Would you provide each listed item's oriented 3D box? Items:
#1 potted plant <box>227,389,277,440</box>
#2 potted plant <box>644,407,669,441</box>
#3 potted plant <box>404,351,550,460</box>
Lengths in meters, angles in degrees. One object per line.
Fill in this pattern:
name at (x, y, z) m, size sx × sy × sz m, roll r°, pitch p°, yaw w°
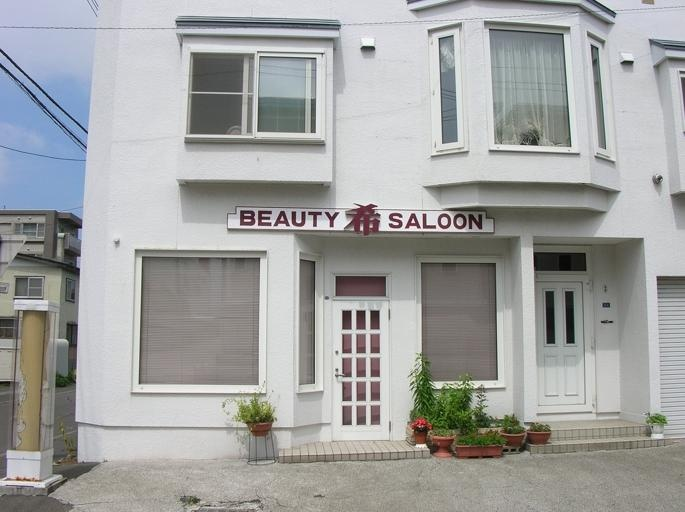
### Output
potted plant at (-1.620, 2.850, 11.895) m, size 0.726 × 0.646 × 1.000 m, roll 3°, pitch 0°, yaw -19°
potted plant at (6.036, 3.266, 12.657) m, size 0.438 × 0.516 × 0.466 m, roll -1°, pitch -12°, yaw 5°
potted plant at (2.406, 2.782, 12.380) m, size 2.283 × 1.650 × 1.324 m, roll 0°, pitch 5°, yaw 3°
